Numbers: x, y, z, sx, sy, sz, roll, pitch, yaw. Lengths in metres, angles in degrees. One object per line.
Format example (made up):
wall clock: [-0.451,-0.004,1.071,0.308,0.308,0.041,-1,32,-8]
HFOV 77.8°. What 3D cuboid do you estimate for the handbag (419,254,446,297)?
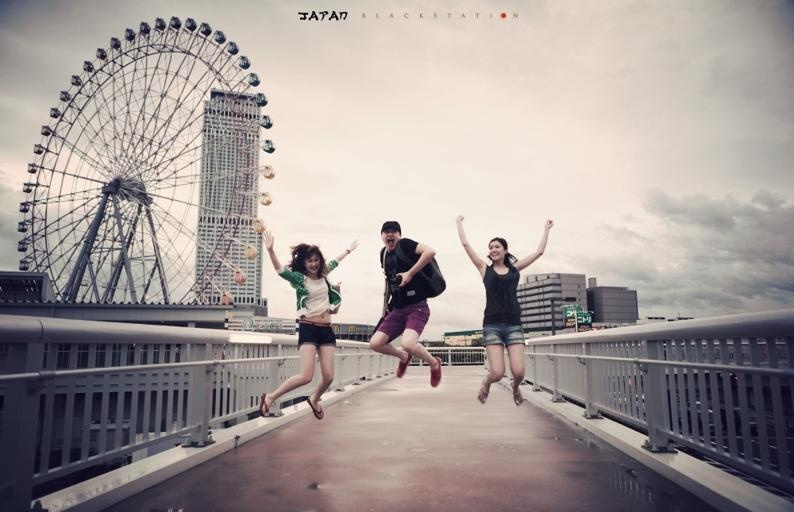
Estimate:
handbag: [0.473,0.258,6.605,0.327,0.521,0.273,-2,-7,19]

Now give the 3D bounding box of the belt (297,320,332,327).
belt: [-1.055,0.846,6.351,0.305,0.079,0.187,3,-8,-6]

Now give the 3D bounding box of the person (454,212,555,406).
person: [1.437,0.730,6.690,1.285,2.582,0.787,3,-7,-22]

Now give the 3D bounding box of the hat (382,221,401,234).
hat: [-0.076,-0.404,6.654,0.237,0.137,0.246,1,-6,-5]
